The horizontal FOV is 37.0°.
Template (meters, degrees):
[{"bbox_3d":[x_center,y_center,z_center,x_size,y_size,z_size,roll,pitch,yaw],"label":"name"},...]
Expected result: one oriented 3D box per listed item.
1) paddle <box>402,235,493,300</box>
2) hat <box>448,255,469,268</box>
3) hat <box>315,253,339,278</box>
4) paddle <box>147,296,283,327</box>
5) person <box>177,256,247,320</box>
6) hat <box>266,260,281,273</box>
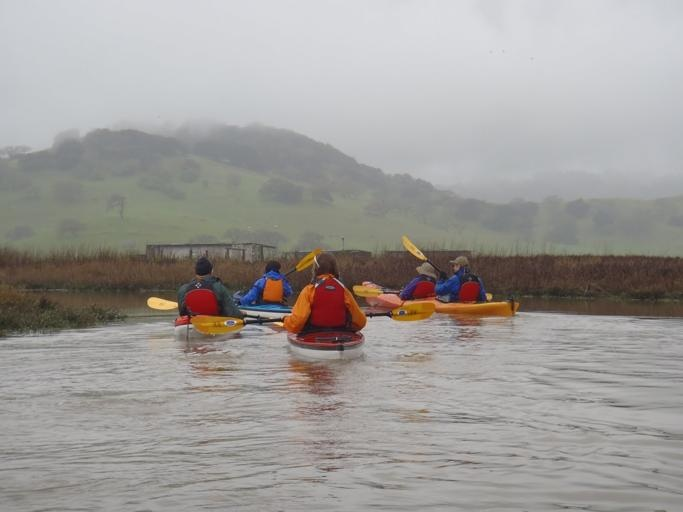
[{"bbox_3d":[3.058,0.587,29.665,1.031,0.820,2.600,8,16,-42],"label":"paddle"},{"bbox_3d":[2.976,0.151,25.929,0.497,0.223,0.309,2,3,10],"label":"hat"},{"bbox_3d":[-0.279,0.172,18.763,0.393,0.448,0.454,1,3,-1],"label":"hat"},{"bbox_3d":[-2.621,1.212,22.062,0.667,0.417,3.261,3,1,-41],"label":"paddle"},{"bbox_3d":[-2.716,0.930,21.330,1.273,1.713,1.079,-1,5,7],"label":"person"},{"bbox_3d":[-1.520,0.237,22.808,0.286,0.368,0.603,-1,14,-4],"label":"hat"}]
